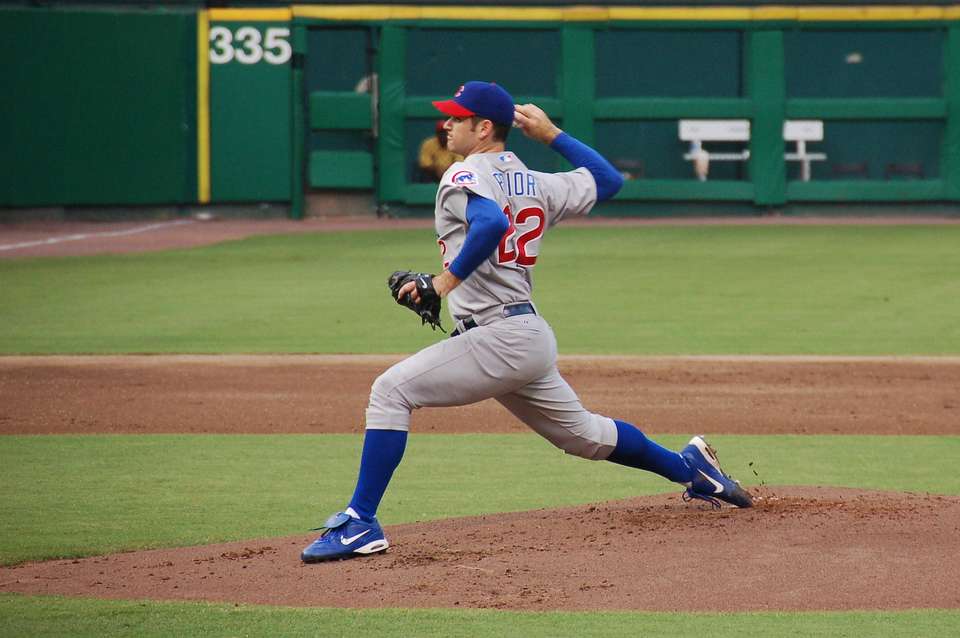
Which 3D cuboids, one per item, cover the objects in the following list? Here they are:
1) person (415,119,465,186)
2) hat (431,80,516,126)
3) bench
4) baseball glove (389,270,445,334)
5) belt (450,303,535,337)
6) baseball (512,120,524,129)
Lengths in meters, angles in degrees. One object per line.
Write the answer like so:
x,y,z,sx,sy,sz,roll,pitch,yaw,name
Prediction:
-0.553,-2.116,26.498,0.960,0.988,0.400,-1,4,1,person
0.000,-1.957,18.819,0.622,0.281,0.407,5,8,3,hat
3.552,-2.193,27.005,2.128,0.877,0.784,-2,23,-10,bench
-0.531,-0.169,18.651,0.614,0.266,0.430,34,-7,-12,baseball glove
0.128,0.002,18.629,0.520,0.123,0.392,-21,-7,25,belt
0.367,-1.767,18.873,0.092,0.027,0.067,34,-34,-14,baseball
